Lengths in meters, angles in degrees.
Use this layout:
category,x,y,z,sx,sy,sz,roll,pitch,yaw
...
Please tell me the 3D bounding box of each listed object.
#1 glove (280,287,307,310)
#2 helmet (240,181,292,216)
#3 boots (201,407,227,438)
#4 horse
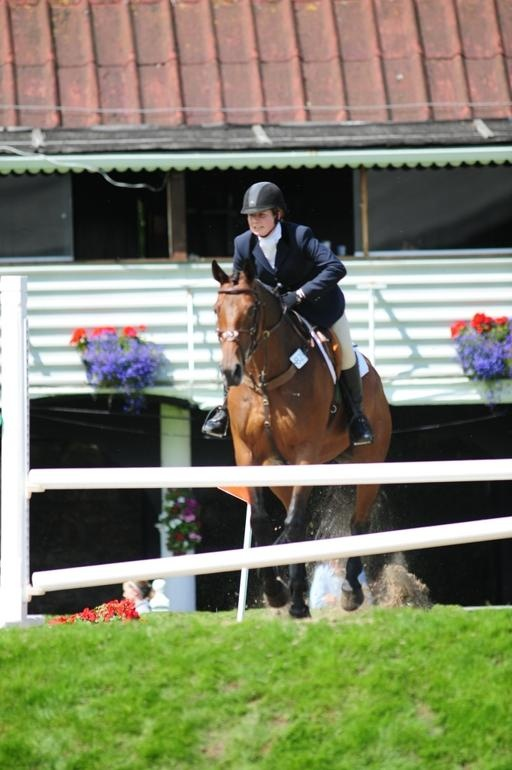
category,x,y,z,sx,sy,sz,roll,pitch,yaw
glove,0.239,-0.523,8.857,0.101,0.071,0.138,-18,7,-3
helmet,0.053,-1.126,8.782,0.281,0.190,0.224,-2,-2,-9
boots,-0.252,0.228,9.305,0.103,0.169,0.335,13,16,-7
horse,0.319,0.417,9.405,0.732,1.892,2.694,-3,-11,19
